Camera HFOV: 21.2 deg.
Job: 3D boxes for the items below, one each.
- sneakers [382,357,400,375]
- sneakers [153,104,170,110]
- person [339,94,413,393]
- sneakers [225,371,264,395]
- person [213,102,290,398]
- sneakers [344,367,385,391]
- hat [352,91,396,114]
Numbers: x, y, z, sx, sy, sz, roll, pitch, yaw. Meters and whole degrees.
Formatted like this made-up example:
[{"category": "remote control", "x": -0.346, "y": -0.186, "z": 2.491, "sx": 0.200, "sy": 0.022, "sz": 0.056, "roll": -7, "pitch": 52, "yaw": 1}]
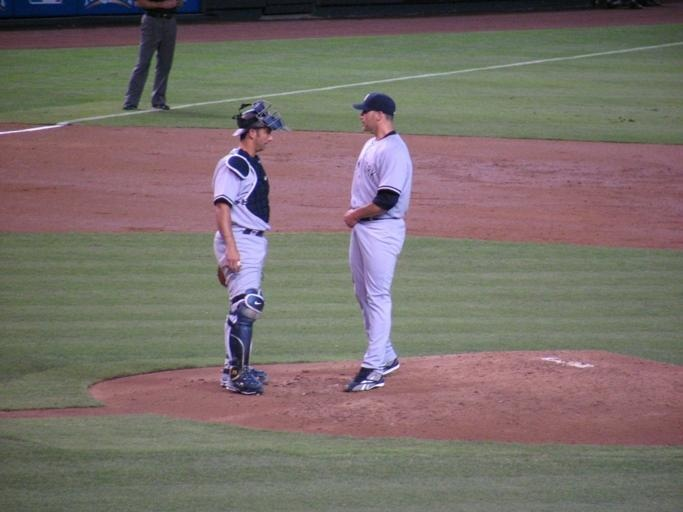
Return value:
[{"category": "sneakers", "x": 0.658, "y": 1.365, "z": 22.918, "sx": 0.318, "sy": 0.117, "sz": 0.112, "roll": -33, "pitch": 13, "yaw": -37}, {"category": "sneakers", "x": -3.097, "y": -2.572, "z": 31.569, "sx": 0.328, "sy": 0.094, "sz": 0.097, "roll": 1, "pitch": 5, "yaw": -1}, {"category": "person", "x": 0.454, "y": -0.208, "z": 22.673, "sx": 0.837, "sy": 3.581, "sz": 1.206, "roll": 4, "pitch": 12, "yaw": -5}, {"category": "sneakers", "x": -1.167, "y": 1.547, "z": 22.403, "sx": 0.532, "sy": 0.190, "sz": 0.228, "roll": 0, "pitch": 0, "yaw": 26}, {"category": "person", "x": -1.225, "y": -0.123, "z": 22.439, "sx": 0.795, "sy": 3.546, "sz": 0.921, "roll": 4, "pitch": 12, "yaw": -3}, {"category": "sneakers", "x": 0.196, "y": 1.514, "z": 22.493, "sx": 0.587, "sy": 0.203, "sz": 0.221, "roll": -2, "pitch": 1, "yaw": -35}, {"category": "hat", "x": 0.416, "y": -1.908, "z": 22.766, "sx": 0.518, "sy": 0.179, "sz": 0.282, "roll": 5, "pitch": 9, "yaw": 1}]
